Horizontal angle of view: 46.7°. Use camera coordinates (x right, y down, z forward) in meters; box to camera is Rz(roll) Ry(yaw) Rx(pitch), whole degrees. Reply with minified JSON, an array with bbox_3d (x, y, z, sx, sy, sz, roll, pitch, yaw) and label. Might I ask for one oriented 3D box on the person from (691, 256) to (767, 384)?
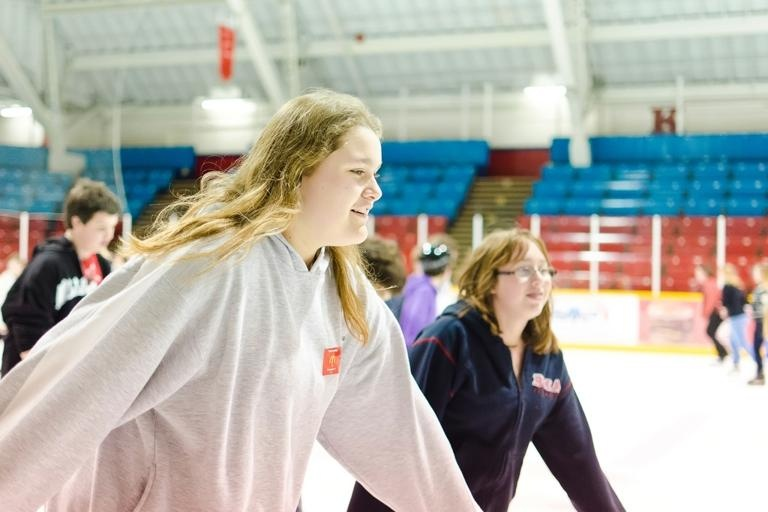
[{"bbox_3d":[4.764,0.877,11.988,0.471,1.016,1.432,1,-2,-10],"label":"person"}]
